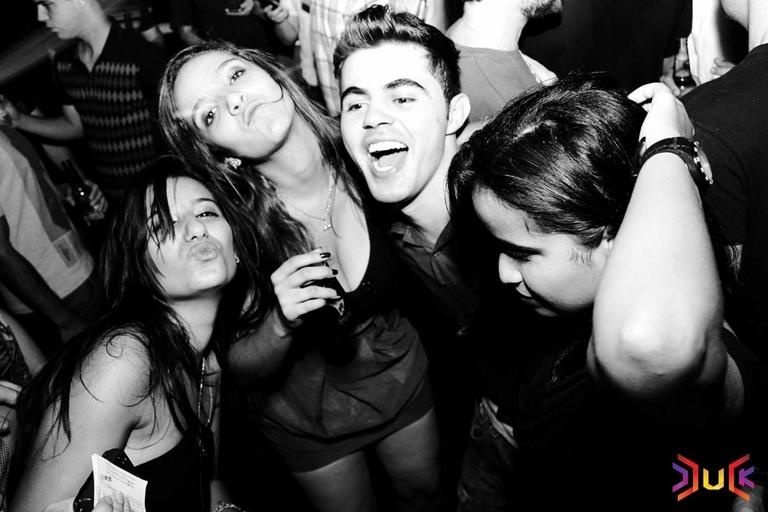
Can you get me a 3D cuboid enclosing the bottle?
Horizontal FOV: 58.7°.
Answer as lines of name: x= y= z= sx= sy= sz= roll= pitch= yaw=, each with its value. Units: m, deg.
bottle: x=-2.035 y=-0.410 z=4.606 sx=0.167 sy=0.526 sz=0.181 roll=-5 pitch=62 yaw=10
